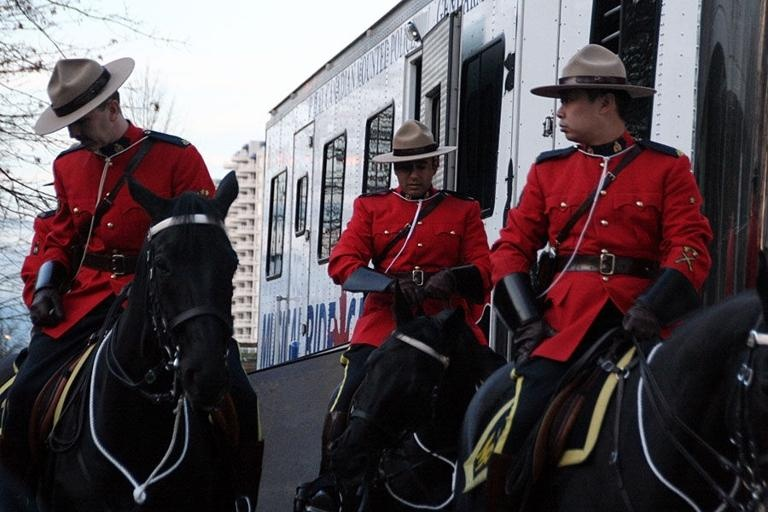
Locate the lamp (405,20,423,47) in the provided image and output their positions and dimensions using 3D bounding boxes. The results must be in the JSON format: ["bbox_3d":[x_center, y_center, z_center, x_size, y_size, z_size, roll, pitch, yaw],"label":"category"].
[{"bbox_3d":[0.291,-2.178,9.326,0.115,0.220,0.352,-2,39,-5],"label":"lamp"}]

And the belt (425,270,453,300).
[{"bbox_3d":[0.365,0.196,6.297,0.154,0.191,0.091,8,-20,22],"label":"belt"}]

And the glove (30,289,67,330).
[{"bbox_3d":[-2.190,0.352,6.187,0.215,0.256,0.100,0,-9,0],"label":"glove"}]

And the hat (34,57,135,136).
[{"bbox_3d":[-1.957,-1.059,6.259,0.590,0.359,0.485,1,1,-19],"label":"hat"}]

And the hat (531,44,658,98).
[{"bbox_3d":[1.231,-1.065,5.580,0.449,0.169,0.497,-2,-9,29],"label":"hat"}]
